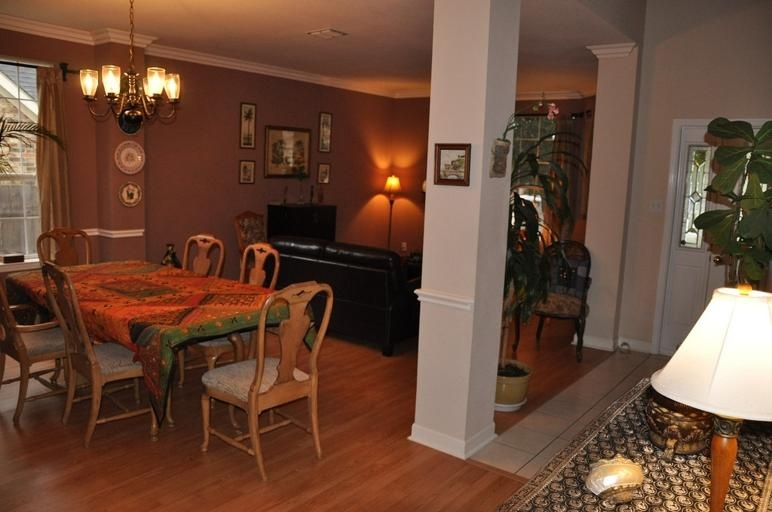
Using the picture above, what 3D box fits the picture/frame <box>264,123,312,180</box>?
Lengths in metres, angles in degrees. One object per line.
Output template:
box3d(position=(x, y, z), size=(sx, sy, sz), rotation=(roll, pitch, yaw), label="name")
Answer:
box3d(position=(-1.636, -1.725, 9.029), size=(0.070, 0.895, 0.933), rotation=(11, 13, 42), label="picture/frame")

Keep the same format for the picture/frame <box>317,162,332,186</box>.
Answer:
box3d(position=(-1.099, -1.457, 9.727), size=(0.042, 0.376, 0.401), rotation=(0, 8, 30), label="picture/frame")

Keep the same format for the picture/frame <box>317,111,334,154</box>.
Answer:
box3d(position=(-1.053, -2.156, 9.630), size=(0.067, 0.684, 0.354), rotation=(6, 12, 33), label="picture/frame")

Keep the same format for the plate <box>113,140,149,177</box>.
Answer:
box3d(position=(-3.288, -1.273, 7.132), size=(0.088, 0.389, 0.384), rotation=(3, -3, 38), label="plate")

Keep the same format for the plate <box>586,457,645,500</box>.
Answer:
box3d(position=(1.223, 1.193, 2.947), size=(0.223, 0.180, 0.231), rotation=(0, -22, 0), label="plate")

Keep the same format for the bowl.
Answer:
box3d(position=(1.828, 1.037, 3.406), size=(0.347, 0.286, 0.354), rotation=(0, -1, 0), label="bowl")

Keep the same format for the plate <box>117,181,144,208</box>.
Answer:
box3d(position=(-3.316, -0.799, 7.182), size=(0.279, 0.288, 0.071), rotation=(2, 5, -44), label="plate")
